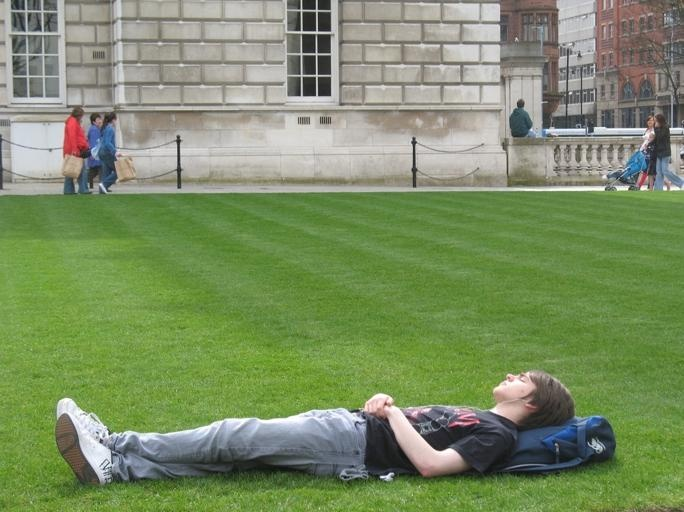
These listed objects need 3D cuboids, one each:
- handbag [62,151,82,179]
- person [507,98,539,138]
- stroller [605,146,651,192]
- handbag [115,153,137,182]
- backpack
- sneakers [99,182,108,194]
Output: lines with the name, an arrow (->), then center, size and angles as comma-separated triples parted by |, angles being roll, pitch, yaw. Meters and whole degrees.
handbag -> -5.470, -1.885, 25.965 | 0.442, 0.240, 0.585 | 9, 48, -14
person -> 4.630, -3.587, 32.901 | 0.643, 1.001, 0.651 | 10, 18, 38
stroller -> 6.463, -2.008, 28.784 | 1.202, 1.447, 0.949 | 0, 6, 5
handbag -> -4.420, -1.827, 25.994 | 0.358, 0.523, 0.414 | -1, 5, -12
backpack -> 1.883, 1.648, 10.909 | 0.717, 0.289, 0.554 | -8, -1, 1
sneakers -> -4.820, -1.401, 25.829 | 0.084, 0.231, 0.092 | -41, -7, -6
